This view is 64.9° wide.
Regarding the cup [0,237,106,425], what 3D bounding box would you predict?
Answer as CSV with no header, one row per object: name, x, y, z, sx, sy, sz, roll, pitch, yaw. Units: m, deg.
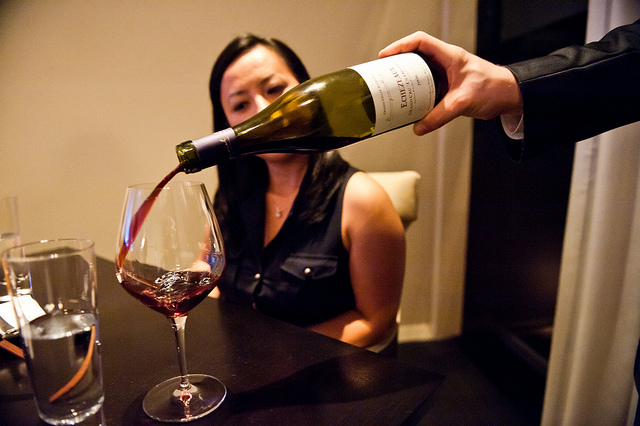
cup,-0.519,0.225,0.956,0.212,0.332,0.117,-2,14,7

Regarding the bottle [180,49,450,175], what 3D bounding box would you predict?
bottle,-0.009,-0.236,1.256,0.671,0.179,0.190,-21,13,-20

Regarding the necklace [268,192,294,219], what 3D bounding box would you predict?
necklace,-0.122,-0.019,1.634,0.079,0.075,0.040,3,7,2
